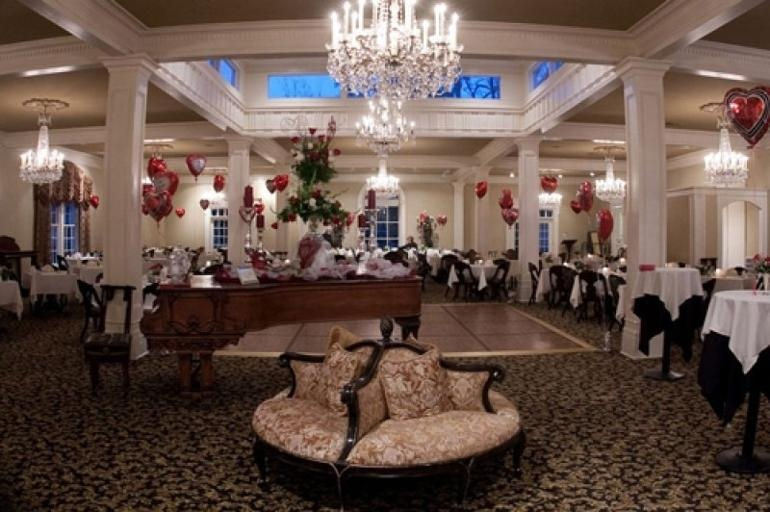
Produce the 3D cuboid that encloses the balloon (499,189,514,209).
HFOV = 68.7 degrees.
[{"bbox_3d":[3.203,-1.501,14.864,0.315,0.491,0.421,-1,3,4],"label":"balloon"}]

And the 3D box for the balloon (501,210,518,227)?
[{"bbox_3d":[3.257,-0.998,14.656,0.471,0.469,0.474,2,4,34],"label":"balloon"}]

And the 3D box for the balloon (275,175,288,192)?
[{"bbox_3d":[-1.878,-1.322,10.269,0.297,0.384,0.389,0,15,-6],"label":"balloon"}]

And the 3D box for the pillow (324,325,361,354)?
[{"bbox_3d":[-0.426,0.837,5.632,0.266,0.264,0.105,1,-23,7],"label":"pillow"}]

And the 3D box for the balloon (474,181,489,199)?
[{"bbox_3d":[2.724,-1.890,15.741,0.276,0.463,1.112,0,3,12],"label":"balloon"}]

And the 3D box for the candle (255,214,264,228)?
[{"bbox_3d":[-1.677,-0.464,7.580,0.088,0.185,0.486,-2,3,-16],"label":"candle"}]

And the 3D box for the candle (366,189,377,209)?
[{"bbox_3d":[-0.157,-0.712,7.016,0.085,0.234,0.229,-1,3,-7],"label":"candle"}]

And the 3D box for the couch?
[{"bbox_3d":[-0.012,1.432,5.302,2.466,1.650,1.012,0,3,12],"label":"couch"}]

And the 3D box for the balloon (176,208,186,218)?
[{"bbox_3d":[-7.185,-1.528,19.766,0.426,0.399,0.266,-4,10,-39],"label":"balloon"}]

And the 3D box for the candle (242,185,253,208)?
[{"bbox_3d":[-1.619,-0.706,6.720,0.077,0.260,0.214,-1,3,-8],"label":"candle"}]

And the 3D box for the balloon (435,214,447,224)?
[{"bbox_3d":[1.956,-1.245,19.395,0.372,0.359,0.356,-10,15,-36],"label":"balloon"}]

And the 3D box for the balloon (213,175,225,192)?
[{"bbox_3d":[-4.458,-1.978,15.157,0.247,0.484,1.089,-2,3,-18],"label":"balloon"}]

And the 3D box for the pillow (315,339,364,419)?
[{"bbox_3d":[-0.466,1.159,5.373,0.245,0.550,0.528,15,5,-31],"label":"pillow"}]
